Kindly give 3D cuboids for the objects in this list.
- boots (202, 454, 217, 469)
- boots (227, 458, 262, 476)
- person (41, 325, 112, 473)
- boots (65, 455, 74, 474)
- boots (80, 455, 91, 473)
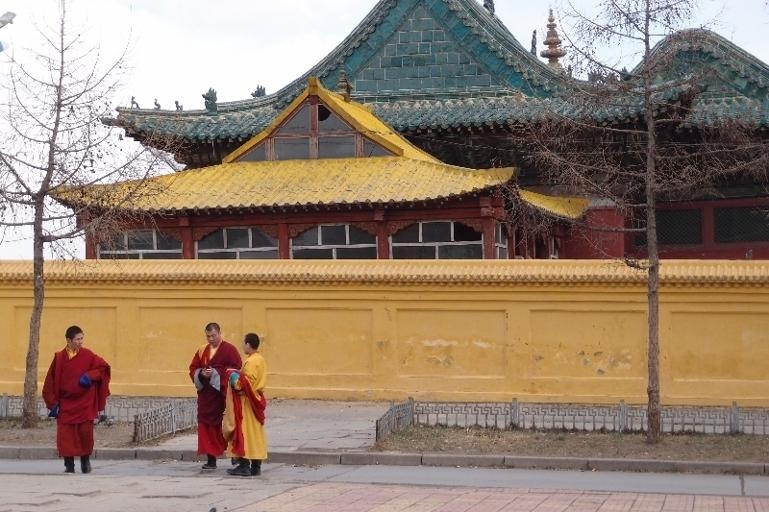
[{"bbox_3d":[-3.527,4.044,33.476,0.203,0.340,0.364,2,0,-20],"label":"boots"},{"bbox_3d":[-2.864,4.092,32.995,0.698,0.459,0.285,3,-3,16],"label":"boots"},{"bbox_3d":[-6.240,2.783,33.441,1.127,2.892,0.791,0,-4,-39],"label":"person"},{"bbox_3d":[-6.355,4.052,33.104,0.202,0.310,0.237,-2,-4,-5],"label":"boots"},{"bbox_3d":[-6.026,4.056,33.176,0.208,0.335,0.456,-2,-4,-10],"label":"boots"}]
